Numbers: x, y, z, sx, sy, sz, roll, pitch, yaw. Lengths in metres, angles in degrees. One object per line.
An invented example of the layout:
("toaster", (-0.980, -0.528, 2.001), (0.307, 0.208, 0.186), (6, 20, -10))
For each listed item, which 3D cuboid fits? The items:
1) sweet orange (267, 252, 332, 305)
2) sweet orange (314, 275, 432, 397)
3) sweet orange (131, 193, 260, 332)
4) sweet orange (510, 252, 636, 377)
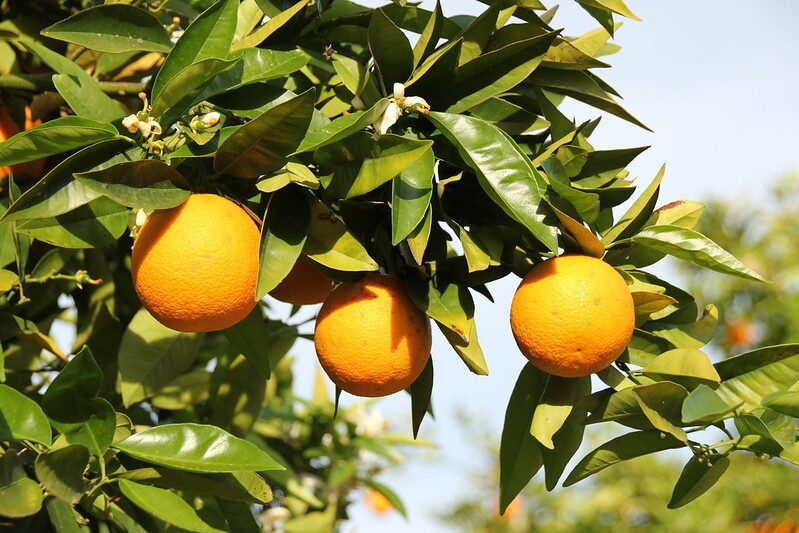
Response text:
("sweet orange", (-0.241, 0.052, 2.260), (0.117, 0.138, 0.118), (25, -24, -7))
("sweet orange", (-0.092, 0.162, 2.214), (0.213, 0.248, 0.212), (-4, -2, 30))
("sweet orange", (-0.434, -0.003, 2.069), (0.294, 0.301, 0.283), (-3, -4, -17))
("sweet orange", (0.414, 0.102, 2.211), (0.262, 0.306, 0.267), (0, 10, 10))
